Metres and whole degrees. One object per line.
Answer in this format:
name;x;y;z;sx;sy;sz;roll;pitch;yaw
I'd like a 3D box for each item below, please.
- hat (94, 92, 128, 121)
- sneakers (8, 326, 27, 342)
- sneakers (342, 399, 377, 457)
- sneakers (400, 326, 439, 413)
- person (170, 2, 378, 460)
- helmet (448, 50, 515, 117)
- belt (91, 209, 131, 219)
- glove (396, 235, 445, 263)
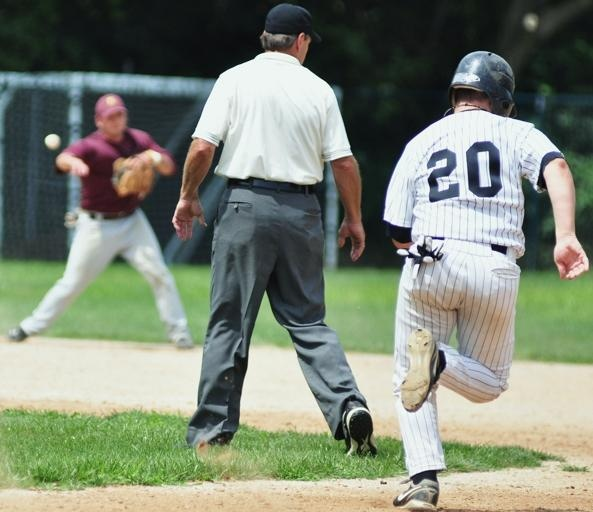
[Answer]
hat;-1.699;-1.347;10.858;0.275;0.233;0.280;2;7;-11
sneakers;-2.477;0.693;10.540;0.080;0.107;0.235;6;3;-7
sneakers;0.468;1.258;8.652;0.264;0.404;0.214;4;6;5
sneakers;0.821;0.743;7.872;0.191;0.580;0.261;9;-8;34
person;-0.169;-0.211;8.629;1.405;3.189;0.624;2;6;-7
helmet;1.299;-1.182;8.190;0.445;0.459;0.351;6;3;-22
belt;-1.695;-0.368;10.769;0.410;0.074;0.060;-1;8;-36
glove;0.821;-0.051;7.905;0.174;0.185;0.348;-1;9;-37
